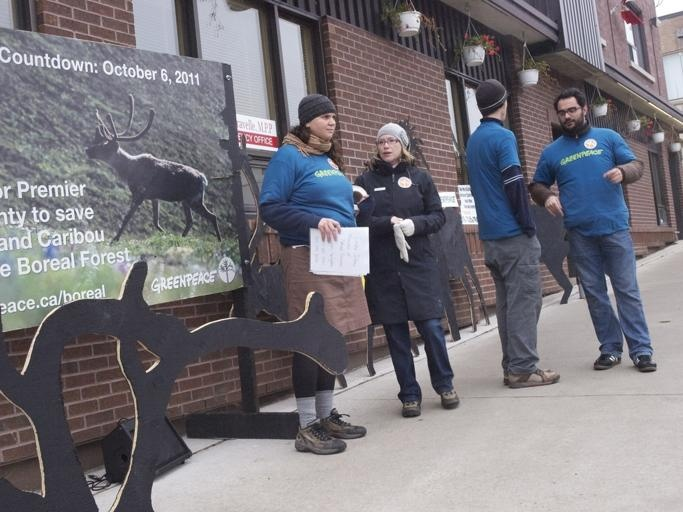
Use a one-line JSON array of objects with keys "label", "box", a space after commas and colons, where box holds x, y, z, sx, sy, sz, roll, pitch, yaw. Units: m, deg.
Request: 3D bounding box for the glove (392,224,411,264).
[{"label": "glove", "box": [0.438, -0.087, 4.490, 0.066, 0.252, 0.141, -26, 24, -7]}]

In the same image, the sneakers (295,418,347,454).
[{"label": "sneakers", "box": [-0.156, 1.192, 4.021, 0.360, 0.201, 0.152, -1, 0, 26]}]

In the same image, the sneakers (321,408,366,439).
[{"label": "sneakers", "box": [0.071, 1.158, 4.190, 0.397, 0.193, 0.141, 1, 2, 18]}]

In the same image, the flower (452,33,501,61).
[{"label": "flower", "box": [2.018, -3.210, 9.125, 0.649, 0.326, 0.670, 10, 28, 34]}]

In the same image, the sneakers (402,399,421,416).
[{"label": "sneakers", "box": [0.516, 1.131, 4.537, 0.145, 0.108, 0.238, -8, 2, 5]}]

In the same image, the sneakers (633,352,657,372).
[{"label": "sneakers", "box": [2.446, 0.867, 4.904, 0.085, 0.109, 0.239, -2, -6, 5]}]

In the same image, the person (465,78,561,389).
[{"label": "person", "box": [1.320, -0.197, 4.935, 0.523, 2.077, 0.359, -6, 2, 39]}]

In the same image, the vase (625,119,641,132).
[{"label": "vase", "box": [7.401, -3.322, 15.437, 0.278, 0.217, 0.288, -2, -3, 11]}]

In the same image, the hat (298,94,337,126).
[{"label": "hat", "box": [-0.176, -0.996, 4.153, 0.207, 0.178, 0.211, 4, 9, 10]}]

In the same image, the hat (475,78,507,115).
[{"label": "hat", "box": [1.245, -1.337, 5.014, 0.229, 0.295, 0.231, 4, -21, 29]}]

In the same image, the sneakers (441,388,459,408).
[{"label": "sneakers", "box": [0.810, 1.076, 4.552, 0.134, 0.127, 0.116, -8, 2, 5]}]

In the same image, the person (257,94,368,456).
[{"label": "person", "box": [-0.158, 0.096, 4.040, 0.664, 2.252, 0.483, -8, 2, -13]}]

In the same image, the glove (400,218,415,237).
[{"label": "glove", "box": [0.484, -0.210, 4.518, 0.110, 0.107, 0.108, 4, 10, -6]}]

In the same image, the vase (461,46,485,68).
[{"label": "vase", "box": [1.958, -2.931, 9.008, 0.269, 0.183, 0.279, -4, -13, 17]}]

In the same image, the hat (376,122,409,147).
[{"label": "hat", "box": [0.405, -0.944, 4.780, 0.174, 0.214, 0.251, -2, 8, 22]}]

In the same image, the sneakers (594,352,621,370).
[{"label": "sneakers", "box": [2.233, 0.889, 5.115, 0.098, 0.123, 0.302, -1, -2, 40]}]
